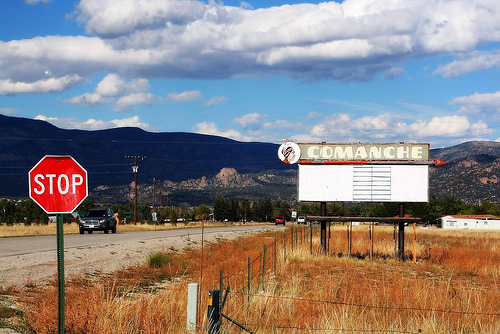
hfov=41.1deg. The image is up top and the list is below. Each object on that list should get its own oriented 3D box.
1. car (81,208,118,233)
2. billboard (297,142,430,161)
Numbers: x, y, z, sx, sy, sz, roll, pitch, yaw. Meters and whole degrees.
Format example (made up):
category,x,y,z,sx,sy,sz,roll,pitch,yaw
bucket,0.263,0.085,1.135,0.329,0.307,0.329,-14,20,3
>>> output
category,x,y,z,sx,sy,sz,roll,pitch,yaw
car,-12.484,4.412,55.299,1.508,1.861,3.299,-3,-4,31
billboard,7.615,-0.963,43.905,8.105,1.333,0.546,-1,-3,4
